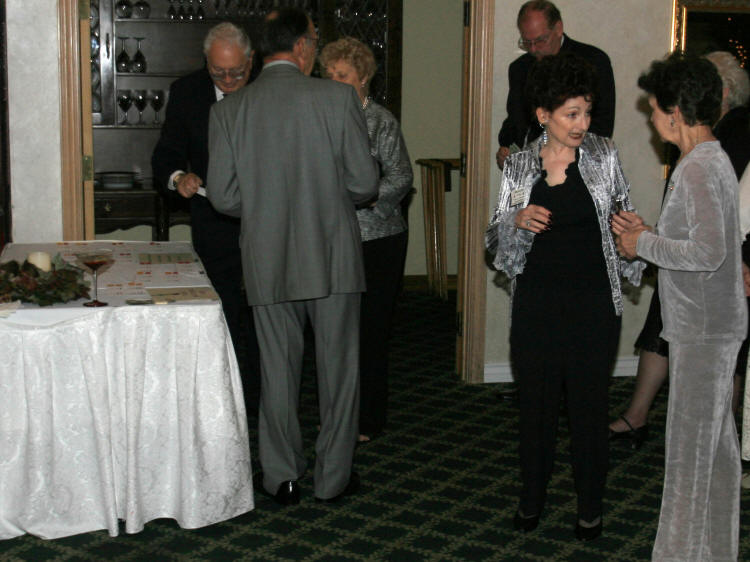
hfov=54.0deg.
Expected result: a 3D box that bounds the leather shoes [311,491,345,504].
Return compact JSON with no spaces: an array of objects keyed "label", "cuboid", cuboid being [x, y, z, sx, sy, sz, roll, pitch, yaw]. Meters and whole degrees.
[{"label":"leather shoes","cuboid":[-0.209,0.992,3.409,0.135,0.058,0.050,-6,24,-9]}]

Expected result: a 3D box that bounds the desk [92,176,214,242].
[{"label":"desk","cuboid":[-1.906,-0.610,6.134,0.749,0.712,0.294,-1,6,-10]}]

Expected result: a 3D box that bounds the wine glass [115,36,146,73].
[{"label":"wine glass","cuboid":[-2.461,-2.244,7.340,0.352,0.476,0.187,1,20,-7]}]

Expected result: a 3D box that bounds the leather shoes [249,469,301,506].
[{"label":"leather shoes","cuboid":[-0.473,0.964,3.463,0.102,0.117,0.253,-11,26,-42]}]

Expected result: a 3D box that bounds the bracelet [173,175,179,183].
[{"label":"bracelet","cuboid":[-1.045,-0.532,3.884,0.040,0.047,0.052,-1,2,-8]}]

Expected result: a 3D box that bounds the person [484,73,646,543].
[{"label":"person","cuboid":[0.756,0.118,3.024,0.596,1.963,0.275,2,11,9]}]

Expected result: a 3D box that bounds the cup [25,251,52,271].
[{"label":"cup","cuboid":[-1.481,-0.103,3.243,0.099,0.097,0.100,-1,12,0]}]

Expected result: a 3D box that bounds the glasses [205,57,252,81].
[{"label":"glasses","cuboid":[-0.731,-1.062,3.691,0.170,0.102,0.219,-2,11,-2]}]

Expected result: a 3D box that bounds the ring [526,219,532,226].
[{"label":"ring","cuboid":[0.607,-0.224,2.878,0.017,0.006,0.024,3,48,6]}]

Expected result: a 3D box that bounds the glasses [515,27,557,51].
[{"label":"glasses","cuboid":[0.897,-1.361,4.219,0.106,0.070,0.241,-4,12,-20]}]

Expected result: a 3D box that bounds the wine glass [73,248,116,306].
[{"label":"wine glass","cuboid":[-1.221,-0.003,3.190,0.199,0.243,0.191,6,10,25]}]
